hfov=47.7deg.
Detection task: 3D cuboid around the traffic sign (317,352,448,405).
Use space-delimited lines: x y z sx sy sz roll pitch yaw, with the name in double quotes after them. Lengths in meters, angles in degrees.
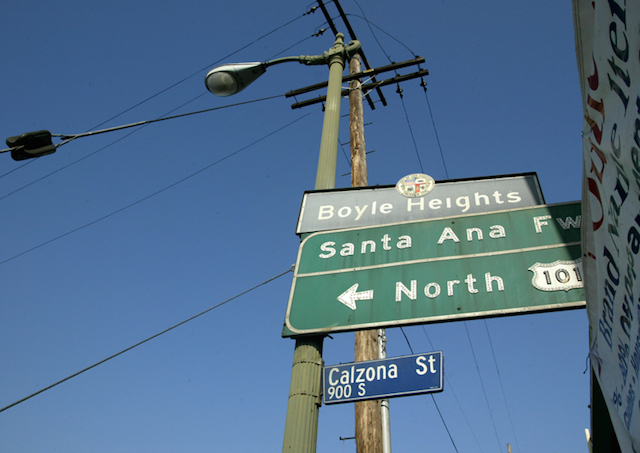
0.572 1.423 6.715 1.138 0.381 0.168 -9 -45 13 "traffic sign"
